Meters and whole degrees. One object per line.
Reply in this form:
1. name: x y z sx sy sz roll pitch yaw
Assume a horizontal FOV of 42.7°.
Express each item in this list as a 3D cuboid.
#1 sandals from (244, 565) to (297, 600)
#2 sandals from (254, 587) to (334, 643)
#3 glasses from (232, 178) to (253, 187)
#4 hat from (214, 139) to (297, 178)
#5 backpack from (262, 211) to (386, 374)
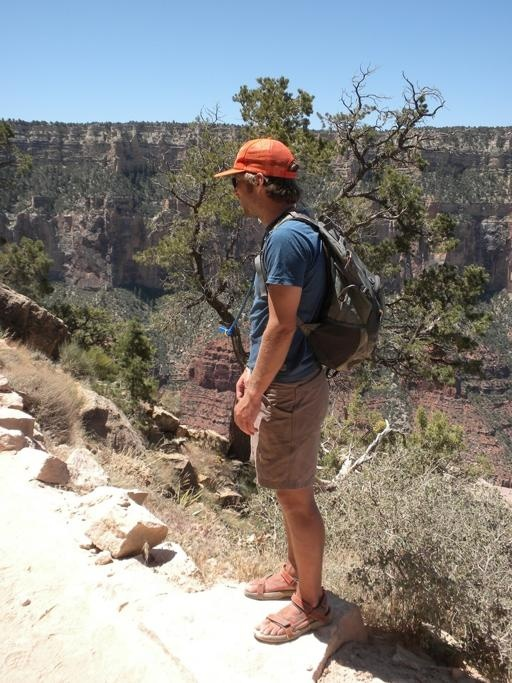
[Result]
1. sandals: 0.061 1.000 2.715 0.213 0.096 0.108 2 -1 -2
2. sandals: 0.144 1.034 2.470 0.267 0.117 0.117 -5 2 -29
3. glasses: -0.044 -0.631 2.563 0.057 0.016 0.053 10 -1 -31
4. hat: 0.001 -0.694 2.566 0.290 0.145 0.180 9 26 12
5. backpack: 0.276 -0.191 2.547 0.438 0.589 0.499 1 11 17
